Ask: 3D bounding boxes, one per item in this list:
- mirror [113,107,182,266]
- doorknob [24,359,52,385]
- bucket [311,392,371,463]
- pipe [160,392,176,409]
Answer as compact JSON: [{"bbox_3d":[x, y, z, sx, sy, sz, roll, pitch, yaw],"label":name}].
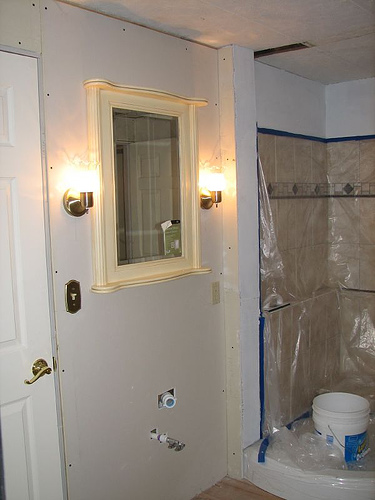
[{"bbox_3d":[-0.174,-0.274,1.696,0.537,0.685,0.063,-5,6,-44],"label":"mirror"},{"bbox_3d":[-0.502,0.418,1.386,0.045,0.048,0.082,0,0,3],"label":"doorknob"},{"bbox_3d":[0.876,0.978,2.396,0.290,0.304,0.334,3,4,20],"label":"bucket"},{"bbox_3d":[-0.080,0.678,1.852,0.062,0.062,0.021,-11,6,-37],"label":"pipe"}]
